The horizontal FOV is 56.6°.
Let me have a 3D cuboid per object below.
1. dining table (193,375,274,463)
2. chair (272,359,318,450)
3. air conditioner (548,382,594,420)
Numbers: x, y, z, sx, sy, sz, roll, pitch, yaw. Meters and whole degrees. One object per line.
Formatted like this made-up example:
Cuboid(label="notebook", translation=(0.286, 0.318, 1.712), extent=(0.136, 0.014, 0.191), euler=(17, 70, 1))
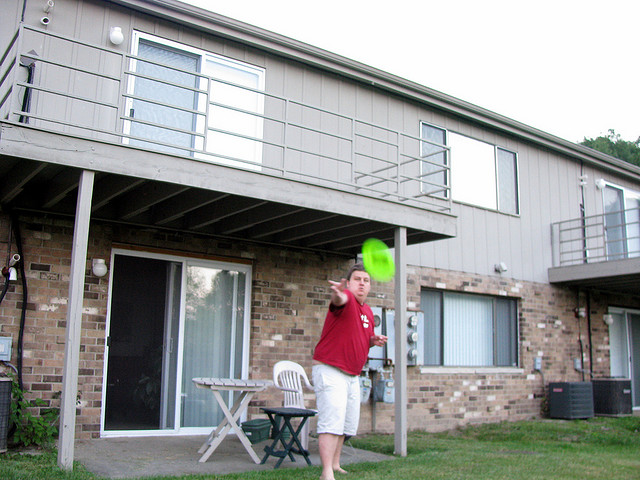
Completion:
Cuboid(label="dining table", translation=(-1.229, 2.443, 7.982), extent=(0.986, 1.020, 0.696), euler=(13, -19, -37))
Cuboid(label="chair", translation=(-0.449, 2.369, 8.571), extent=(0.672, 1.042, 0.717), euler=(0, -2, -8))
Cuboid(label="air conditioner", translation=(5.377, 3.444, 12.689), extent=(0.901, 0.781, 0.524), euler=(10, -13, -37))
